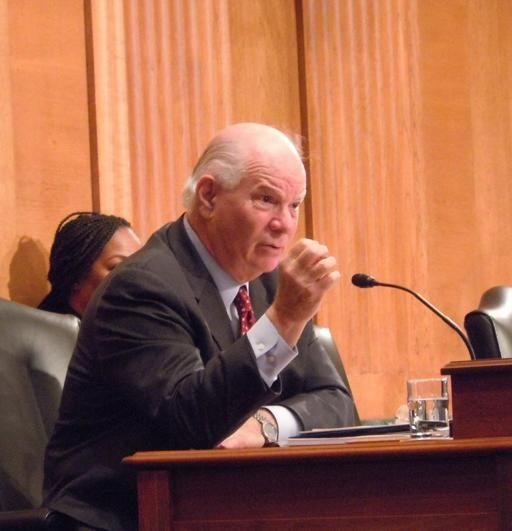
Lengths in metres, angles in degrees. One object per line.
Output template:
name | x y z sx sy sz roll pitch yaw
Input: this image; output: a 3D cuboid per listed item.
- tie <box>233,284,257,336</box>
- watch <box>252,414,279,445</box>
tie | -0.024 0.103 1.710 0.031 0.036 0.128 -15 39 8
watch | 0.022 0.348 1.544 0.016 0.054 0.045 -21 -22 35
